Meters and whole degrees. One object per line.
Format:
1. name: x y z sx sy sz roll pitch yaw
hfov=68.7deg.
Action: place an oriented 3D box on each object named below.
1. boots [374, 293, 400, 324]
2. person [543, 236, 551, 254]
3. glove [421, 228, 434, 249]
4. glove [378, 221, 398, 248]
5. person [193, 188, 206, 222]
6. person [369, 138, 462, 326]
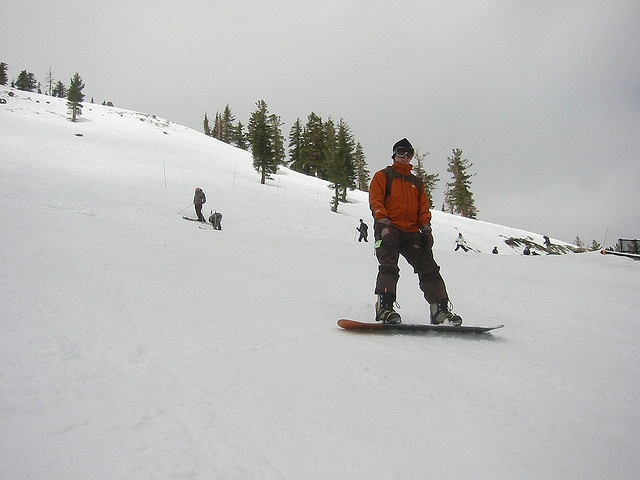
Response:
1. boots: 0.628 0.628 4.442 0.153 0.317 0.442 6 -5 -11
2. person: 15.850 0.440 32.814 0.396 1.317 0.375 -7 10 -5
3. glove: 1.098 -0.016 4.774 0.067 0.208 0.146 -9 -19 30
4. glove: 0.651 -0.052 4.537 0.222 0.319 0.172 2 -15 -5
5. person: -3.744 -1.081 14.619 0.345 0.958 1.215 5 6 -15
6. person: 0.897 -0.084 4.646 0.970 1.795 0.978 8 6 17
